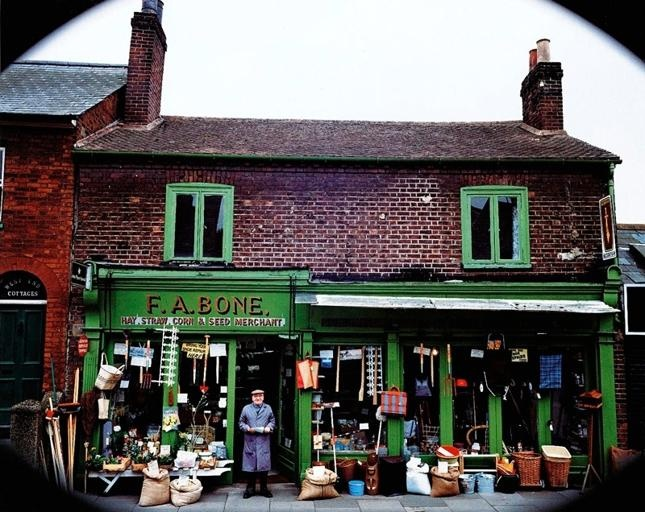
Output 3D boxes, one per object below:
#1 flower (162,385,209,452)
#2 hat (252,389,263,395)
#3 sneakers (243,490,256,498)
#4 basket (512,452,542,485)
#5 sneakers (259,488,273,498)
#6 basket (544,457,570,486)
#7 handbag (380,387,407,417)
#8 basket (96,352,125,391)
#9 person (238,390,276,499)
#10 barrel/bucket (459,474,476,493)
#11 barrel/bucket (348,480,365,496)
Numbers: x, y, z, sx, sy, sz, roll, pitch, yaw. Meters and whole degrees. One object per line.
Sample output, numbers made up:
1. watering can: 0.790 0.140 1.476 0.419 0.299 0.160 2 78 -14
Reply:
1. flower: -2.815 3.327 17.137 0.970 1.269 0.415 2 -9 -10
2. hat: -1.318 2.731 16.680 0.223 0.093 0.267 0 -4 -3
3. sneakers: -1.442 4.653 16.192 0.195 0.135 0.107 23 -19 -31
4. basket: 4.227 4.380 17.011 0.588 0.778 0.548 2 -11 1
5. sneakers: -1.080 4.639 16.327 0.300 0.179 0.238 7 -11 -39
6. basket: 4.843 4.466 17.219 0.595 0.678 0.531 2 -12 2
7. handbag: 1.460 3.031 17.149 0.529 0.615 0.253 2 -14 -1
8. basket: -4.369 2.349 16.909 0.565 0.798 0.525 2 -9 -14
9. person: -1.319 3.702 16.447 0.692 2.075 0.665 1 -9 -5
10. barrel/bucket: 2.967 4.625 16.849 0.373 0.354 0.163 2 -9 -11
11. barrel/bucket: 0.681 4.638 16.645 0.265 0.165 0.262 1 -4 0
